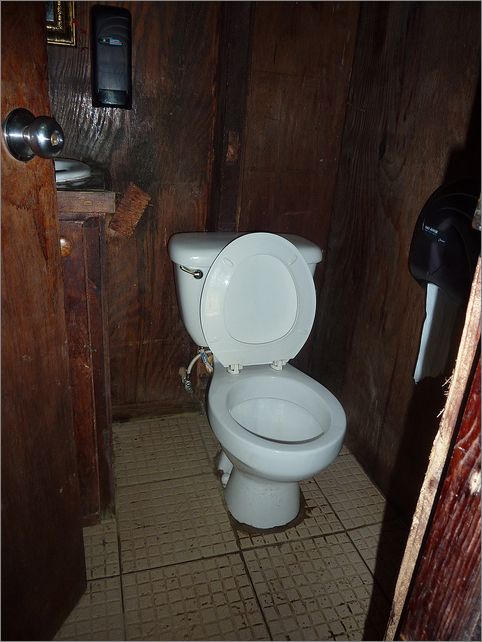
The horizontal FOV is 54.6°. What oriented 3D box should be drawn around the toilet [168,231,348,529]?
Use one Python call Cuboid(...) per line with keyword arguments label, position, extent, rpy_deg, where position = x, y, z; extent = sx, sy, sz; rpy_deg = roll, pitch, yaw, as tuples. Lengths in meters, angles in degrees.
Cuboid(label="toilet", position=(0.049, 0.174, 1.369), extent=(0.368, 0.817, 0.752), rpy_deg=(-5, 19, -14))
